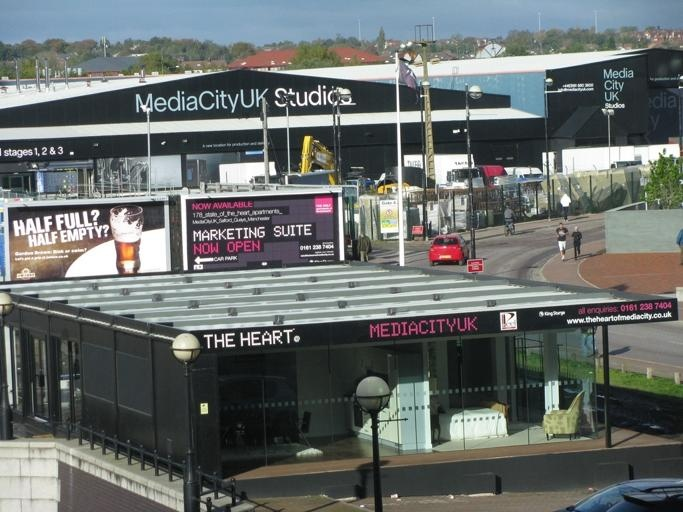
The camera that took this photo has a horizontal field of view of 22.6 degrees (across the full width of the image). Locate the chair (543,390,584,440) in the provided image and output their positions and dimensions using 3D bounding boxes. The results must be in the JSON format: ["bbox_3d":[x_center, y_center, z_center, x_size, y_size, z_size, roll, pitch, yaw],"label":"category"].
[{"bbox_3d":[10.590,7.617,81.508,1.814,2.226,1.621,0,3,18],"label":"chair"}]

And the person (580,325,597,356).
[{"bbox_3d":[11.711,4.041,81.095,0.827,1.447,0.328,-9,8,-30],"label":"person"}]
